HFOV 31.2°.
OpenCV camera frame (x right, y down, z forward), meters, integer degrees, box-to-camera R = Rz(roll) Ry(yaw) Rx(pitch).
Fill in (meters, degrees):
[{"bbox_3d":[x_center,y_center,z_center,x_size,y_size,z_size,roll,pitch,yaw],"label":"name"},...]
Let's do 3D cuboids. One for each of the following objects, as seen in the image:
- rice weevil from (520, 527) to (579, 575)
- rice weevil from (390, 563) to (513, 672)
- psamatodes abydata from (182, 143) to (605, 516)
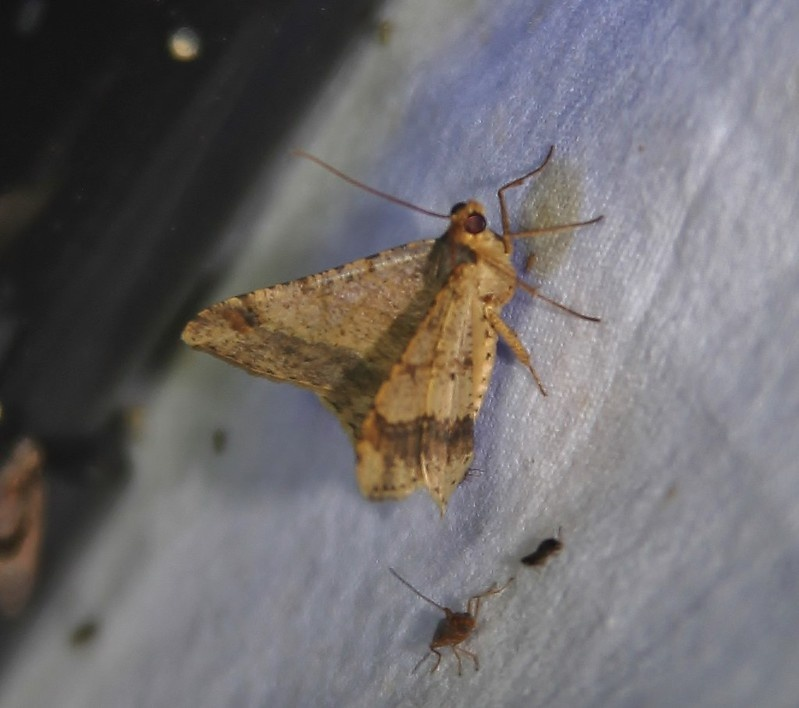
[{"bbox_3d":[0.449,0.622,4.471,0.096,0.141,0.044,42,-2,11],"label":"rice weevil"},{"bbox_3d":[0.187,0.770,4.513,0.231,0.327,0.439,4,25,17],"label":"rice weevil"},{"bbox_3d":[-0.007,-0.098,4.298,0.701,1.276,1.449,13,30,19],"label":"psamatodes abydata"}]
